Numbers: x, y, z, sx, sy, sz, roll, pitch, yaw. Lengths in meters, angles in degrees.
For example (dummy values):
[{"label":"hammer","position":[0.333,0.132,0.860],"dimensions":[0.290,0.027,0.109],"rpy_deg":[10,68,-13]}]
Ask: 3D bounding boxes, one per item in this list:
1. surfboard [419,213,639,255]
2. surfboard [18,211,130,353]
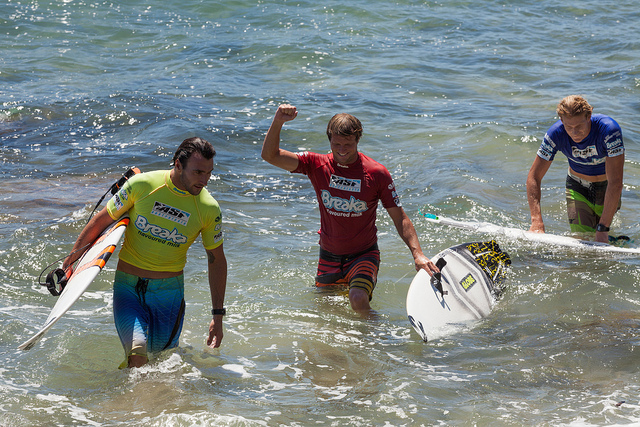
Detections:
[{"label":"surfboard","position":[3.509,0.370,15.367],"dimensions":[3.369,0.296,0.336],"rpy_deg":[7,18,20]},{"label":"surfboard","position":[-3.233,0.873,12.477],"dimensions":[0.675,1.679,1.447],"rpy_deg":[13,20,36]}]
